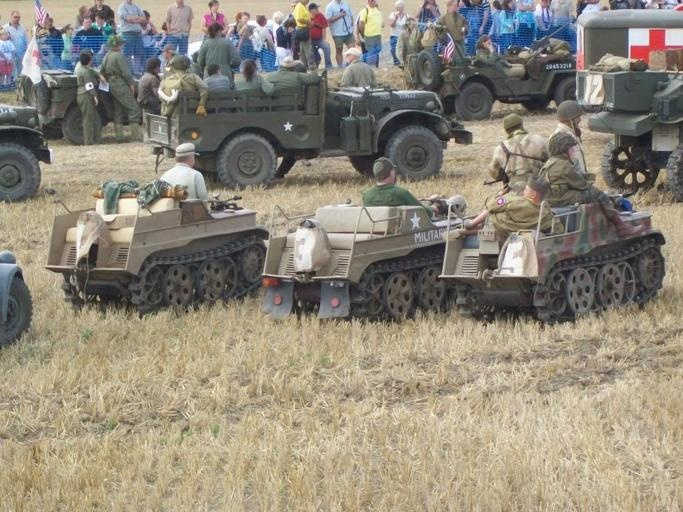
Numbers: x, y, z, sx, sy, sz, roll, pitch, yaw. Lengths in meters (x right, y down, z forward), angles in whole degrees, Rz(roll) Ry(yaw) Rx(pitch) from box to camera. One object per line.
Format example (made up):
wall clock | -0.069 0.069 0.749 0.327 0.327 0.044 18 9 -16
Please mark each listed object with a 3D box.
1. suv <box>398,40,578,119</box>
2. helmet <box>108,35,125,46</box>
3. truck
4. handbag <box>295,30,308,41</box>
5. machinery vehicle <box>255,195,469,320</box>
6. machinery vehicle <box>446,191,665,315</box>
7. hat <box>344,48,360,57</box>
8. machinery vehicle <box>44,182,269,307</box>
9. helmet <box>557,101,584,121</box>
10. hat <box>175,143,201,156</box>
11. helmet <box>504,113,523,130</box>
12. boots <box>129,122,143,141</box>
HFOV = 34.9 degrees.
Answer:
suv | 3.774 -4.469 27.103 3.373 2.092 2.116 -11 17 -26
helmet | -5.130 -4.848 24.552 0.275 0.263 0.349 -1 14 -7
truck | -0.650 -2.392 20.361 4.892 2.394 2.621 -8 12 -24
handbag | -0.990 -5.523 27.178 0.285 0.281 0.194 2 12 9
machinery vehicle | 0.337 0.173 14.178 1.334 1.407 2.336 6 14 36
machinery vehicle | 2.867 0.057 14.202 2.813 1.745 1.645 -10 2 -40
hat | 0.178 -3.993 21.347 0.357 0.245 0.300 3 13 13
machinery vehicle | -2.483 -0.175 14.954 1.476 2.035 2.893 1 5 32
helmet | 2.989 -1.880 14.172 0.290 0.214 0.225 -27 18 -20
hat | -2.127 -1.458 15.065 0.290 0.215 0.434 5 10 26
helmet | 2.306 -1.800 14.649 0.187 0.144 0.212 -18 4 14
boots | -4.914 -2.998 26.006 0.250 0.489 0.787 0 14 -2
